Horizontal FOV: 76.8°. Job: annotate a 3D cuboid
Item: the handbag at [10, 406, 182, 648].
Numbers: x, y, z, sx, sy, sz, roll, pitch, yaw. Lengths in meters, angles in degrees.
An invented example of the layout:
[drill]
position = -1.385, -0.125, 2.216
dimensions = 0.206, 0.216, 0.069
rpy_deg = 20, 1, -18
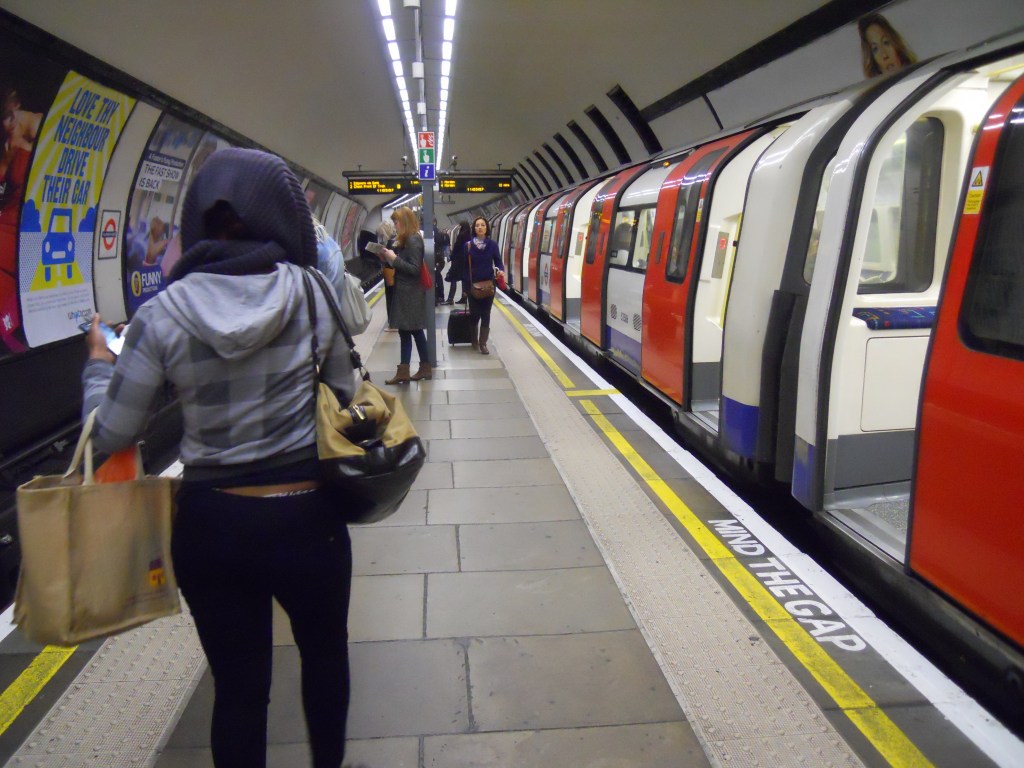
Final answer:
[handbag]
position = -1.391, 0.462, 2.137
dimensions = 0.519, 0.768, 0.282
rpy_deg = -9, 16, -30
